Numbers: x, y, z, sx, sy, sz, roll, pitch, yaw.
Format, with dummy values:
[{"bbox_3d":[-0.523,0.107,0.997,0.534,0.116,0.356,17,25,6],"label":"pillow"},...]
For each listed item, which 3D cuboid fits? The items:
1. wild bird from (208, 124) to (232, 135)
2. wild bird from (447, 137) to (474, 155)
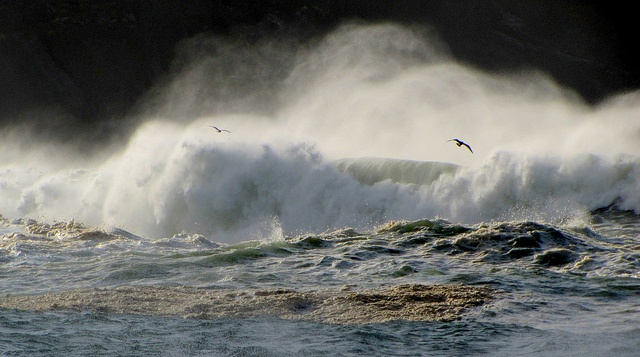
[{"bbox_3d":[-4.227,-2.151,58.629,1.015,0.465,1.814,1,-5,-3],"label":"wild bird"},{"bbox_3d":[3.304,-0.799,32.295,0.607,0.213,0.601,1,11,-29],"label":"wild bird"}]
